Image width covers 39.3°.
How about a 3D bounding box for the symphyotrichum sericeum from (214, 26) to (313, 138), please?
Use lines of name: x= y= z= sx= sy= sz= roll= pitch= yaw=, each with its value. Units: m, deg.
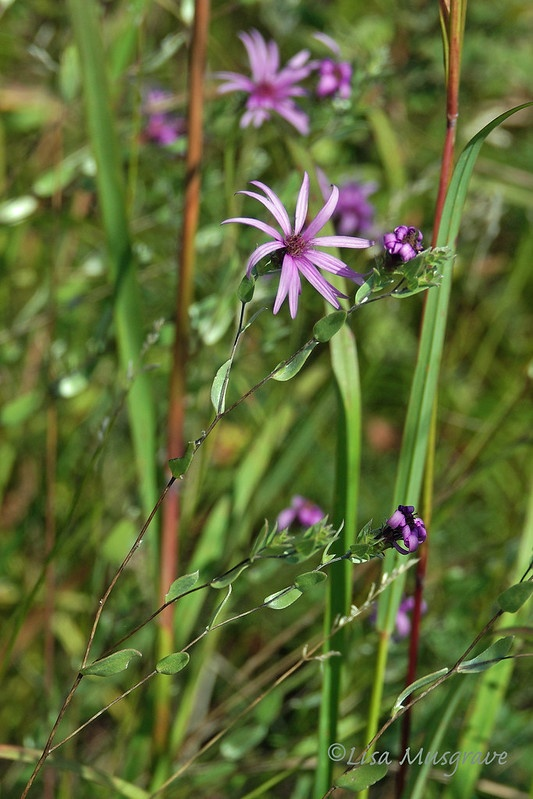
symphyotrichum sericeum: x=-0.004 y=-0.480 z=1.151 sx=0.166 sy=0.162 sz=0.060 roll=-1 pitch=10 yaw=-29
